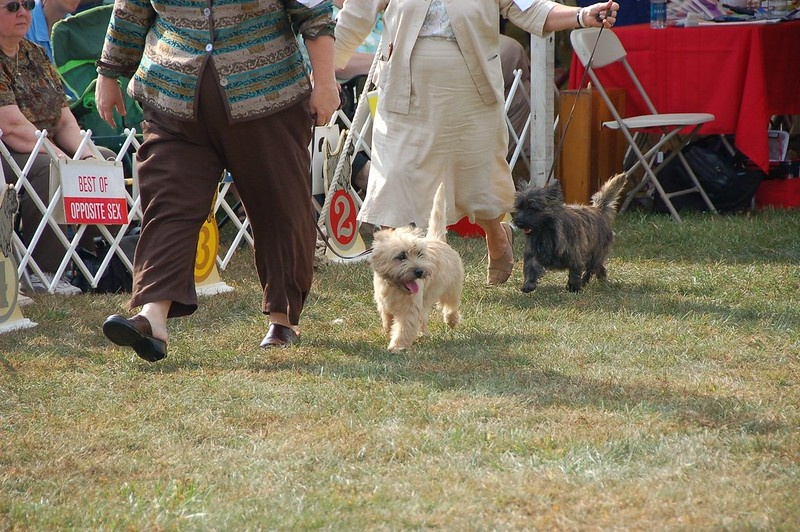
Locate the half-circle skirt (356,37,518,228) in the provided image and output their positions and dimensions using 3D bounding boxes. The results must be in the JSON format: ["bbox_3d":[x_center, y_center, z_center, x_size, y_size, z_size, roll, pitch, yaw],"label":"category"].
[{"bbox_3d":[0.303,-1.013,8.057,1.313,1.447,0.728,-5,17,-12],"label":"half-circle skirt"}]

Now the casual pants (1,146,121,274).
[{"bbox_3d":[-2.540,-0.421,8.320,0.219,0.860,0.908,-2,3,14],"label":"casual pants"}]

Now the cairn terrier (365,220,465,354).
[{"bbox_3d":[0.078,0.112,7.239,0.430,0.699,0.743,8,16,40],"label":"cairn terrier"}]

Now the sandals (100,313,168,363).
[{"bbox_3d":[-1.544,0.357,6.492,0.368,0.162,0.146,10,-29,-35],"label":"sandals"}]

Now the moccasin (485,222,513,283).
[{"bbox_3d":[0.765,-0.084,8.544,0.169,0.486,0.141,11,16,39],"label":"moccasin"}]

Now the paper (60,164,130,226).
[{"bbox_3d":[-2.246,-0.557,8.294,0.557,0.476,0.059,2,14,18],"label":"paper"}]

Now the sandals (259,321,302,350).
[{"bbox_3d":[-0.744,0.426,6.963,0.153,0.119,0.386,0,-2,7],"label":"sandals"}]
